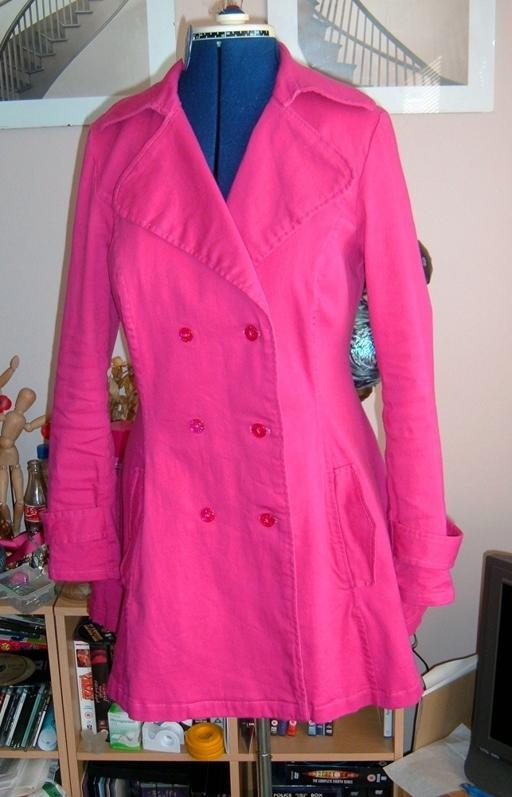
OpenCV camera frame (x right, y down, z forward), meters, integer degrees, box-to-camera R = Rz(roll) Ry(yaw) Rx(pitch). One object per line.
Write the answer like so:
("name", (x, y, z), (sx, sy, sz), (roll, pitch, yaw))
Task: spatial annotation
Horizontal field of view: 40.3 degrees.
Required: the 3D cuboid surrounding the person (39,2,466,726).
("person", (-0.033, -0.035, 0.917), (0.570, 0.947, 0.222), (-1, 9, 16))
